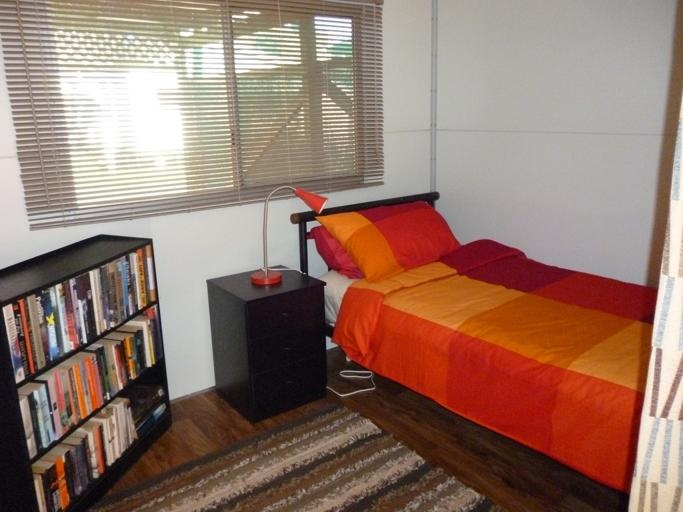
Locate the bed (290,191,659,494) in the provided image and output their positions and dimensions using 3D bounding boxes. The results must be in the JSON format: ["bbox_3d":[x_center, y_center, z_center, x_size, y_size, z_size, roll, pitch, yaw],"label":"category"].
[{"bbox_3d":[0.751,0.359,2.806,1.191,0.704,1.836,-22,31,-35],"label":"bed"}]
